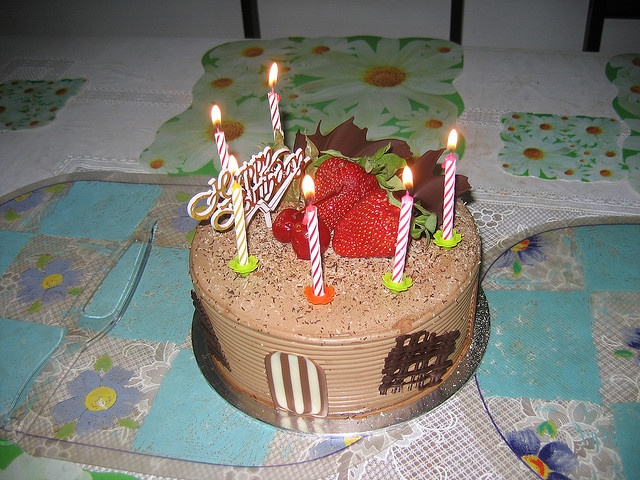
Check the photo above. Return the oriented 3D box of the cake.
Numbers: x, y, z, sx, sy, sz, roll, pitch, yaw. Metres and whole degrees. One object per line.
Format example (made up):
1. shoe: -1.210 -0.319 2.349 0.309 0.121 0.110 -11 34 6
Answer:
1. cake: 0.159 0.328 3.194 1.644 0.734 1.605 1 47 4

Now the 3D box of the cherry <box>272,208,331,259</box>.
1. cherry: -0.133 -0.077 2.784 0.216 0.199 0.342 -33 34 -16
